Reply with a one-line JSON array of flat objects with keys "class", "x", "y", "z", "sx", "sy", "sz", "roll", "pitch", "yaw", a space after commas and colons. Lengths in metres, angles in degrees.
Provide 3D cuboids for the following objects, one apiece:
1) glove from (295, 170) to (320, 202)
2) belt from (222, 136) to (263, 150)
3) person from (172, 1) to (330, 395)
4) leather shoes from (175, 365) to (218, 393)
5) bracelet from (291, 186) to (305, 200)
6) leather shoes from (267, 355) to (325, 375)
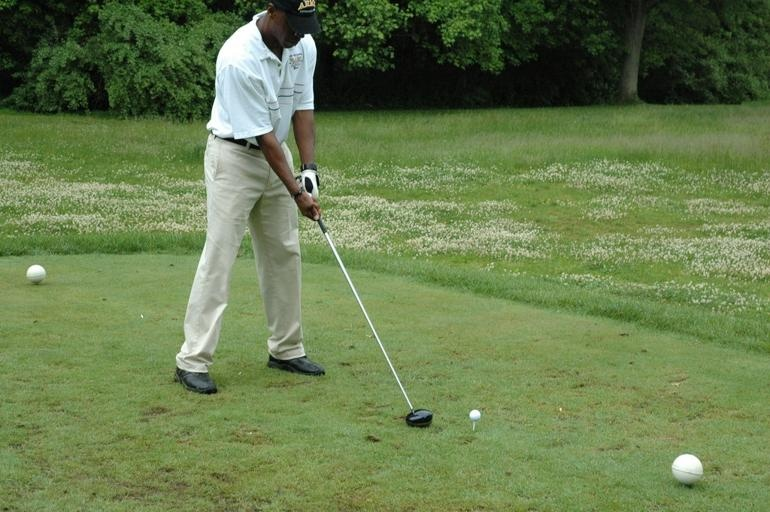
[{"class": "glove", "x": -0.747, "y": -0.751, "z": 10.373, "sx": 0.253, "sy": 0.295, "sz": 0.313, "roll": 4, "pitch": 1, "yaw": -19}, {"class": "belt", "x": -1.479, "y": -1.170, "z": 10.089, "sx": 0.184, "sy": 0.043, "sz": 0.201, "roll": 16, "pitch": 6, "yaw": 41}, {"class": "person", "x": -1.347, "y": -0.645, "z": 10.068, "sx": 1.555, "sy": 3.920, "sz": 1.025, "roll": -5, "pitch": 17, "yaw": -24}, {"class": "leather shoes", "x": -1.932, "y": 1.279, "z": 9.949, "sx": 0.449, "sy": 0.185, "sz": 0.189, "roll": 11, "pitch": 15, "yaw": 27}, {"class": "bracelet", "x": -0.898, "y": -0.654, "z": 10.166, "sx": 0.138, "sy": 0.087, "sz": 0.143, "roll": -3, "pitch": 9, "yaw": 16}, {"class": "leather shoes", "x": -0.936, "y": 1.200, "z": 10.377, "sx": 0.596, "sy": 0.195, "sz": 0.213, "roll": 6, "pitch": 8, "yaw": 13}]
